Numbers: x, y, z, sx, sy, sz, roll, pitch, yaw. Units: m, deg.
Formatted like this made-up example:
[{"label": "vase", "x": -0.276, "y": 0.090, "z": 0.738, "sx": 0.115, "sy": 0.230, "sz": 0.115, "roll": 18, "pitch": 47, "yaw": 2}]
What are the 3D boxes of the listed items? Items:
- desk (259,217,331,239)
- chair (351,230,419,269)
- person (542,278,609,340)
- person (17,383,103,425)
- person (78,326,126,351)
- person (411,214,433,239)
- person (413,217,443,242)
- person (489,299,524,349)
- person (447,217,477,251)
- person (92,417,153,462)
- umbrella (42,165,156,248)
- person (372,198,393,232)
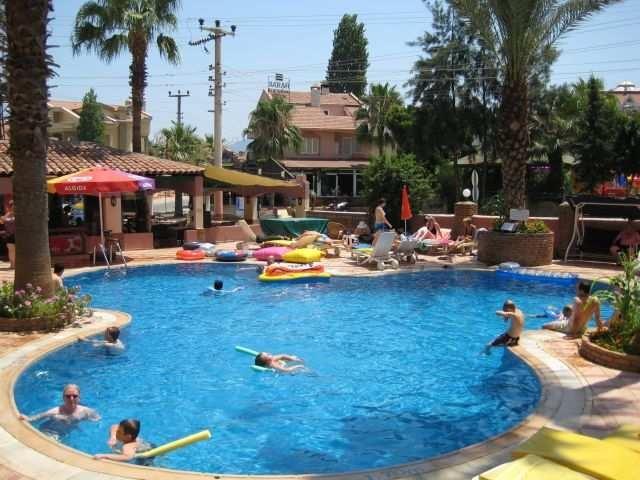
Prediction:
[{"label": "desk", "x": -1.127, "y": -0.551, "z": 26.144, "sx": 2.840, "sy": 0.767, "sz": 1.115, "roll": -1, "pitch": 11, "yaw": -5}, {"label": "chair", "x": 2.230, "y": 0.321, "z": 19.870, "sx": 1.112, "sy": 0.879, "sz": 2.020, "roll": -1, "pitch": 7, "yaw": -14}, {"label": "person", "x": 5.462, "y": 1.498, "z": 12.845, "sx": 0.913, "sy": 1.170, "sz": 0.684, "roll": 5, "pitch": 12, "yaw": -16}, {"label": "person", "x": -3.740, "y": 2.440, "z": 8.930, "sx": 1.325, "sy": 0.564, "sz": 0.406, "roll": 9, "pitch": -15, "yaw": -40}, {"label": "person", "x": -4.169, "y": 1.876, "z": 11.684, "sx": 0.786, "sy": 0.433, "sz": 0.581, "roll": 2, "pitch": 12, "yaw": 11}, {"label": "person", "x": 3.964, "y": -0.460, "z": 22.836, "sx": 1.006, "sy": 1.137, "sz": 0.809, "roll": 1, "pitch": 1, "yaw": 16}, {"label": "person", "x": 4.208, "y": -0.419, "z": 22.660, "sx": 0.655, "sy": 0.966, "sz": 1.384, "roll": 1, "pitch": 2, "yaw": 44}, {"label": "person", "x": 3.579, "y": 1.606, "z": 11.430, "sx": 0.523, "sy": 0.869, "sz": 0.751, "roll": 6, "pitch": 13, "yaw": 26}, {"label": "person", "x": 5.204, "y": -0.219, "z": 21.992, "sx": 1.185, "sy": 1.205, "sz": 0.699, "roll": -6, "pitch": 10, "yaw": -9}, {"label": "person", "x": -2.660, "y": 2.753, "z": 8.204, "sx": 0.520, "sy": 0.787, "sz": 0.583, "roll": 10, "pitch": 12, "yaw": 34}, {"label": "umbrella", "x": -6.975, "y": -1.236, "z": 20.015, "sx": 2.806, "sy": 2.357, "sz": 2.893, "roll": 0, "pitch": 3, "yaw": -3}, {"label": "person", "x": 2.343, "y": -0.546, "z": 22.412, "sx": 0.626, "sy": 1.993, "sz": 0.716, "roll": -2, "pitch": 13, "yaw": -5}]
